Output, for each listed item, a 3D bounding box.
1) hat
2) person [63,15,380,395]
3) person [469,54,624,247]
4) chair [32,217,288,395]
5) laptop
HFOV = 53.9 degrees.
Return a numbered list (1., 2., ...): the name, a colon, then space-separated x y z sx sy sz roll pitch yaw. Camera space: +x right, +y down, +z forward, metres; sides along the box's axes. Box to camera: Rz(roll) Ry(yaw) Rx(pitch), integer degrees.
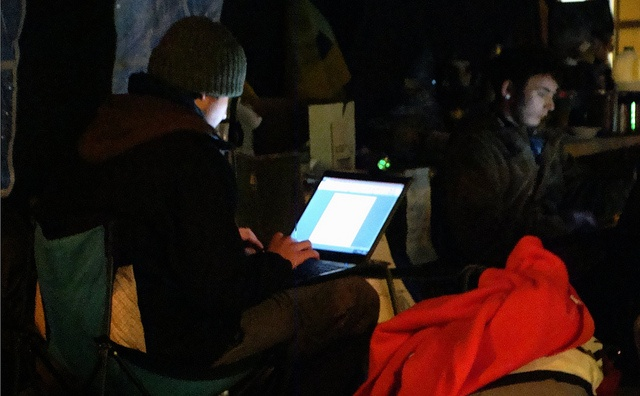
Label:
1. hat: -0.486 -0.581 2.507 0.382 0.284 0.384 -3 19 -27
2. person: -0.356 0.090 2.461 1.099 1.550 0.442 0 3 -29
3. person: 1.037 -0.365 3.119 0.743 1.052 0.766 -5 22 24
4. chair: -0.739 0.395 2.638 0.609 0.594 0.794 2 -8 6
5. laptop: 0.113 0.095 2.682 0.475 0.308 0.457 4 3 32
